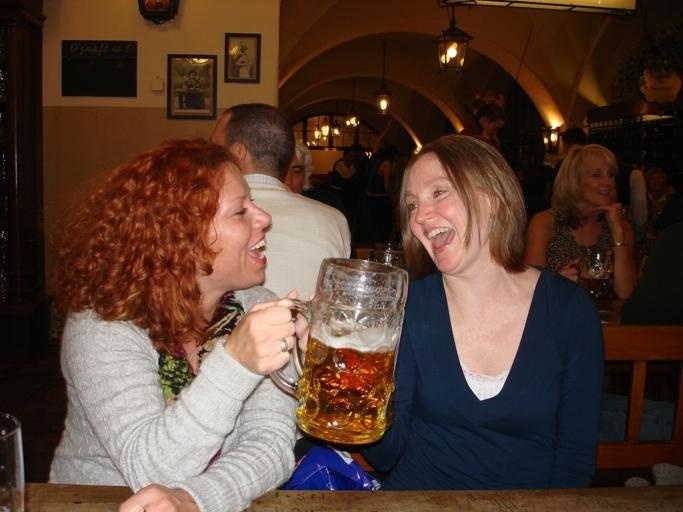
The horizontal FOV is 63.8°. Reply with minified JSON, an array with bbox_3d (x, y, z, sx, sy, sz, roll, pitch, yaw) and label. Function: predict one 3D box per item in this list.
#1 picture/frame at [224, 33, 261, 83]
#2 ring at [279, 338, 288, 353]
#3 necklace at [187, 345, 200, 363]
[{"bbox_3d":[-0.747,-1.486,4.084,0.359,0.479,0.038,0,5,2],"label":"picture/frame"},{"bbox_3d":[-0.130,0.204,1.249,0.007,0.026,0.026,-7,12,-35],"label":"ring"},{"bbox_3d":[-0.425,0.279,1.574,0.038,0.045,0.048,-5,7,1],"label":"necklace"}]
